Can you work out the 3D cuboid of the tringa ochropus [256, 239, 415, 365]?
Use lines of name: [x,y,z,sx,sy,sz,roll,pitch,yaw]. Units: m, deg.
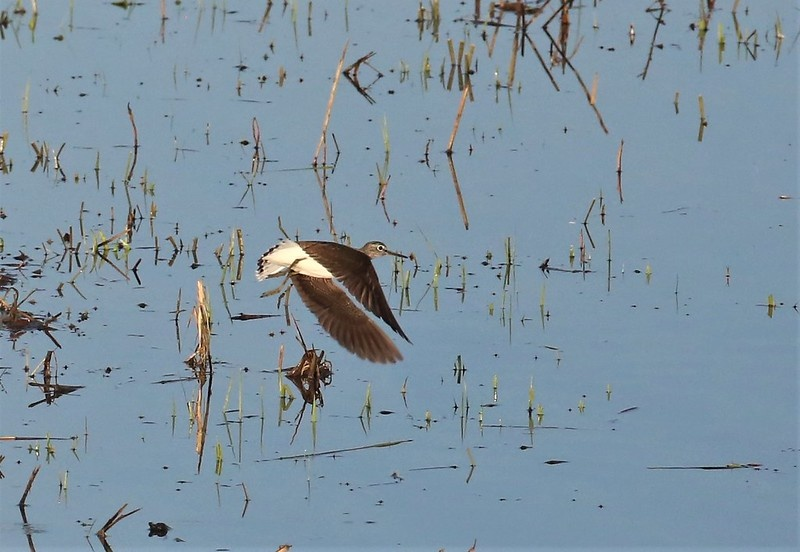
tringa ochropus: [-0.826,0.279,16.918,1.583,1.693,1.450,-3,-13,-6]
